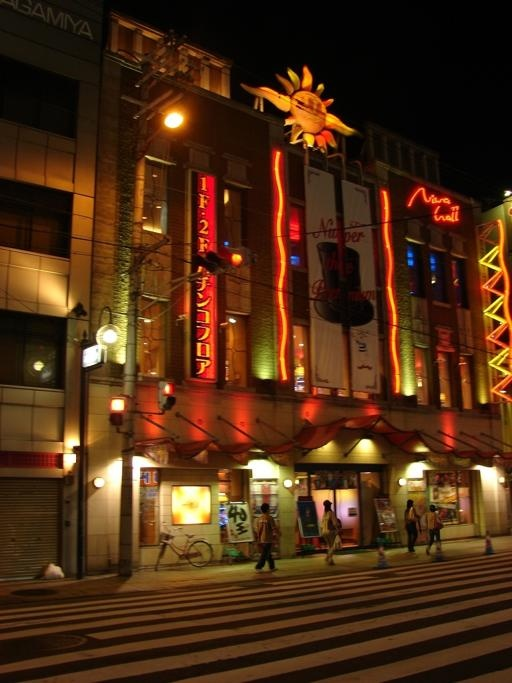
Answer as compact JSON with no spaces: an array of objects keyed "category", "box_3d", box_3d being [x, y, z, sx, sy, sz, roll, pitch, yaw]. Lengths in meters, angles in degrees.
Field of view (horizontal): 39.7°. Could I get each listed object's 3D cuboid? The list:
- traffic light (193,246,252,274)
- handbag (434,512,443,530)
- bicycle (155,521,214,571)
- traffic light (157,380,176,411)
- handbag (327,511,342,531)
[{"category":"traffic light","box_3d":[-0.652,-1.787,15.497,1.142,0.397,0.877,-6,4,-29]},{"category":"handbag","box_3d":[5.723,5.680,22.479,0.228,0.599,0.671,-6,-14,17]},{"category":"bicycle","box_3d":[-2.000,5.878,20.156,0.740,1.012,2.130,-11,-16,32]},{"category":"traffic light","box_3d":[-2.196,1.277,17.394,0.360,0.688,0.439,2,-14,-13]},{"category":"handbag","box_3d":[2.288,5.282,20.917,0.704,0.380,0.742,-3,-36,1]}]
